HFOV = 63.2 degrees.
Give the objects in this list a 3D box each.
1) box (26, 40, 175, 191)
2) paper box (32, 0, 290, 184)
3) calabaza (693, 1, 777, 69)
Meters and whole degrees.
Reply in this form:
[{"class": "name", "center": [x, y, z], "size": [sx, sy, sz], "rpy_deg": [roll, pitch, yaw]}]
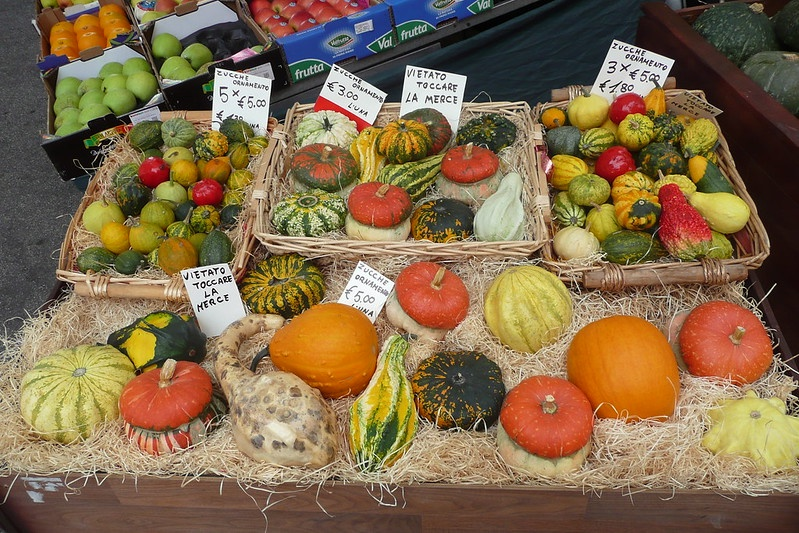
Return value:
[{"class": "box", "center": [-2.734, -1.287, 6.293], "size": [1.440, 0.618, 1.349], "rpy_deg": [-27, 60, -1]}, {"class": "paper box", "center": [-2.214, -1.621, 6.235], "size": [1.798, 0.428, 1.650], "rpy_deg": [-28, 50, -8]}, {"class": "calabaza", "center": [2.860, -1.978, 5.533], "size": [0.690, 0.376, 0.451], "rpy_deg": [24, 56, 22]}]
